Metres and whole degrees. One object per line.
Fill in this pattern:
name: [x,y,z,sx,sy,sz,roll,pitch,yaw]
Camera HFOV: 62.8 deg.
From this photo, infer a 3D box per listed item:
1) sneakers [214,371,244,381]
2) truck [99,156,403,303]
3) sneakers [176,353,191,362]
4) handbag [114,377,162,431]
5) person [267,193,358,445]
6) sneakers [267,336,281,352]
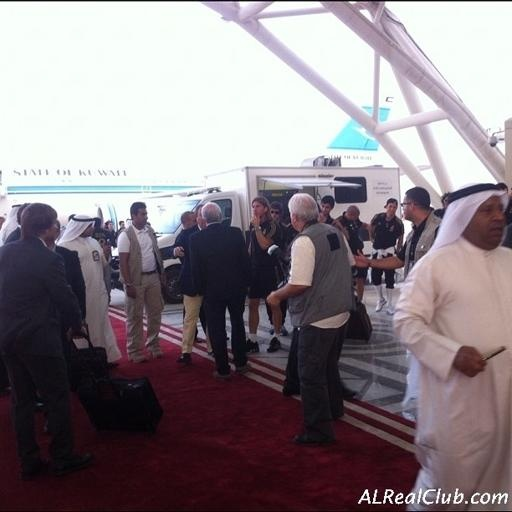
sneakers: [-0.320,1.442,5.054,0.349,0.168,0.133,2,-1,-16]
truck: [0.713,-0.734,11.222,6.309,3.562,3.594,-1,4,-13]
sneakers: [-0.972,1.376,5.641,0.161,0.179,0.087,4,-6,-5]
handbag: [-1.041,1.317,3.659,0.275,0.435,0.224,-14,30,-15]
person: [0.481,0.495,3.427,0.729,2.029,0.430,-4,4,-40]
sneakers: [0.251,1.284,6.037,0.096,0.142,0.308,2,4,8]
